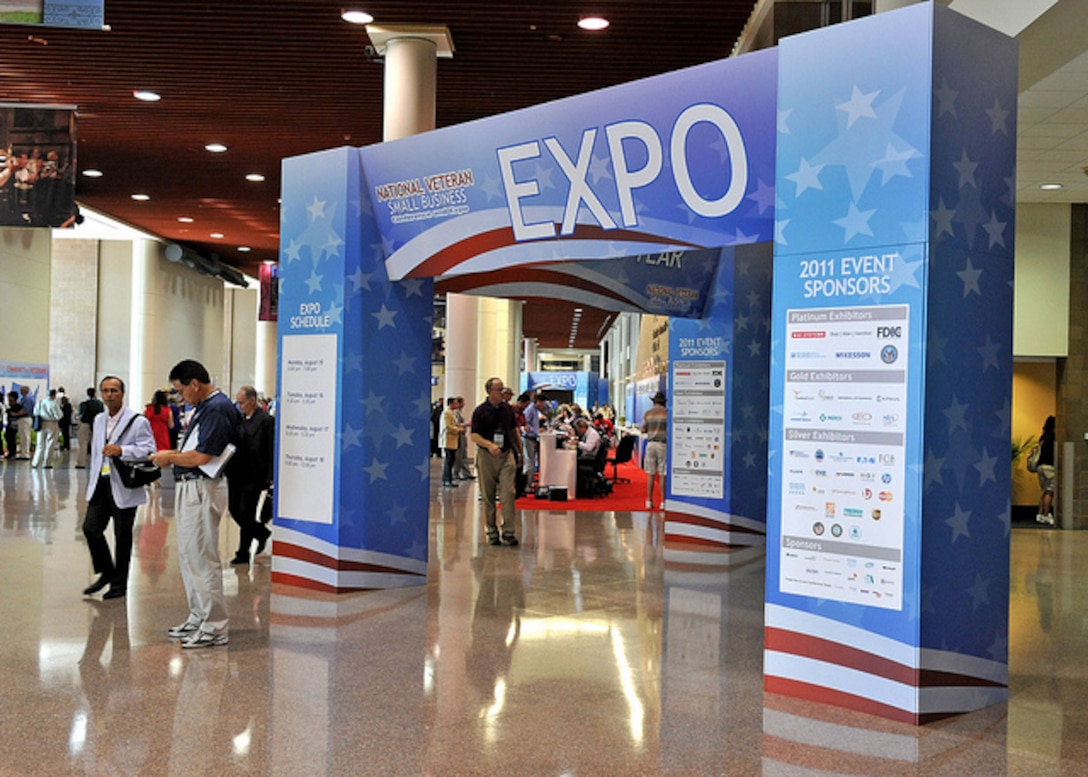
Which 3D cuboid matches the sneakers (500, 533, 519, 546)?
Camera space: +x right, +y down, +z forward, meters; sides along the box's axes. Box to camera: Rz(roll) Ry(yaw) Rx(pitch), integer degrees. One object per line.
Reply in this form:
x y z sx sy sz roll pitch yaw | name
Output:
-0.361 1.651 9.216 0.217 0.134 0.158 2 1 -6 | sneakers

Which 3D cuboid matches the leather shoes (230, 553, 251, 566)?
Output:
-2.971 1.658 8.161 0.137 0.122 0.106 1 -5 5 | leather shoes

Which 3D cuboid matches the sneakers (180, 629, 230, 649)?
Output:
-2.270 1.678 5.605 0.306 0.150 0.118 8 -9 -17 | sneakers

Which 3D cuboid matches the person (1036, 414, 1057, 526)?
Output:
7.115 1.148 11.777 0.257 1.611 0.500 2 0 31 | person

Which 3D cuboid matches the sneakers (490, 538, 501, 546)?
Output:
-0.523 1.684 9.225 0.125 0.123 0.066 1 2 7 | sneakers

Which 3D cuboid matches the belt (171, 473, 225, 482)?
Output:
-2.378 0.603 5.739 0.346 0.065 0.225 2 1 -14 | belt

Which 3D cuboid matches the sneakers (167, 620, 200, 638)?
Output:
-2.508 1.667 5.804 0.205 0.083 0.112 0 -9 29 | sneakers
